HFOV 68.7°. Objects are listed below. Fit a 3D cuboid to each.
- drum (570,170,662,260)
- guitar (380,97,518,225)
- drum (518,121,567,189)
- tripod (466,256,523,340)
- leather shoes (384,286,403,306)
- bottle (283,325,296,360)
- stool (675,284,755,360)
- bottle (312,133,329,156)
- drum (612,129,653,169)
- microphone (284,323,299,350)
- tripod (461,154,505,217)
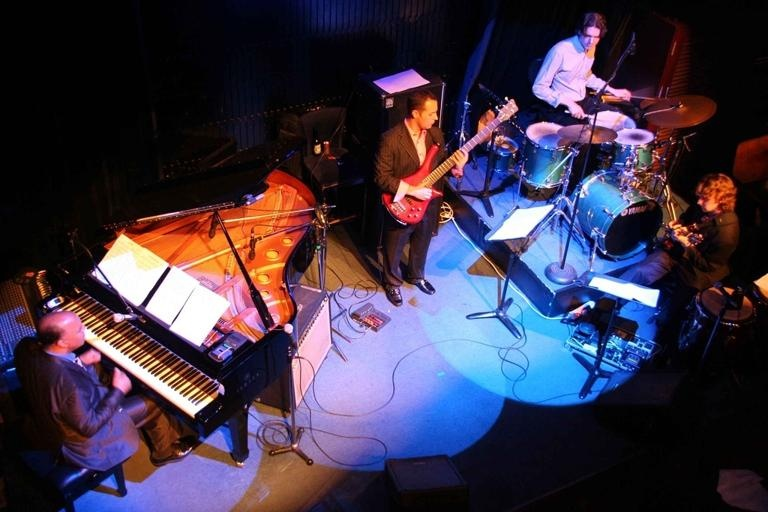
[{"bbox_3d":[2.991,-0.526,7.407,1.022,1.015,0.880,-22,42,-27],"label":"drum"},{"bbox_3d":[0.850,-1.189,7.332,2.347,0.726,0.215,-40,27,2],"label":"guitar"},{"bbox_3d":[2.198,-1.320,7.715,0.634,0.631,0.644,-15,36,-29],"label":"drum"},{"bbox_3d":[1.503,0.401,7.111,0.717,0.885,0.766,12,41,14],"label":"tripod"},{"bbox_3d":[0.124,0.472,7.438,0.143,0.126,0.326,-17,58,-13],"label":"leather shoes"},{"bbox_3d":[-0.941,0.809,5.577,0.103,0.426,0.234,-7,37,-11],"label":"bottle"},{"bbox_3d":[3.888,0.797,6.781,0.542,0.904,0.662,-15,30,-12],"label":"stool"},{"bbox_3d":[-0.882,-1.579,7.863,0.265,0.301,0.224,-5,36,-8],"label":"bottle"},{"bbox_3d":[3.368,-1.525,7.640,0.529,0.402,0.546,-2,39,2],"label":"drum"},{"bbox_3d":[-0.934,0.794,5.577,0.121,0.370,0.124,27,57,16],"label":"microphone"},{"bbox_3d":[1.441,-1.004,8.185,0.622,0.773,0.601,20,64,14],"label":"tripod"}]
